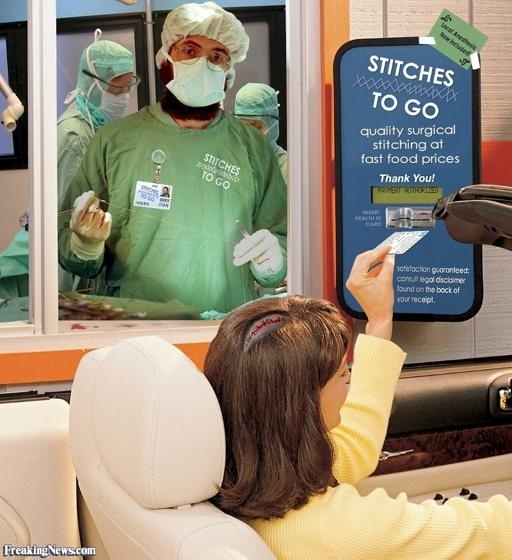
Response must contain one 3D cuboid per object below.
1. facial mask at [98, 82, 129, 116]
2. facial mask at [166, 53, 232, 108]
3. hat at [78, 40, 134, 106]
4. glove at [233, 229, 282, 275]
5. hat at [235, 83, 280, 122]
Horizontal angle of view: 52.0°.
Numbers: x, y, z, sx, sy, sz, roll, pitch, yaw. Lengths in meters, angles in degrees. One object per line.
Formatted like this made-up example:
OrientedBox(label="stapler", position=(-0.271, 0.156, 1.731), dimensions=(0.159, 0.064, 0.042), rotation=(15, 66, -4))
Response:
OrientedBox(label="facial mask", position=(-0.488, -0.616, 1.791), dimensions=(0.090, 0.061, 0.079), rotation=(16, 16, 20))
OrientedBox(label="facial mask", position=(-0.210, -0.699, 1.861), dimensions=(0.196, 0.131, 0.184), rotation=(3, 6, -14))
OrientedBox(label="hat", position=(-0.536, -0.740, 1.841), dimensions=(0.213, 0.199, 0.185), rotation=(-9, 25, -17))
OrientedBox(label="glove", position=(0.020, -0.099, 1.937), dimensions=(0.200, 0.136, 0.075), rotation=(8, -5, -18))
OrientedBox(label="hat", position=(0.005, -0.646, 1.910), dimensions=(0.113, 0.115, 0.155), rotation=(16, 32, 37))
